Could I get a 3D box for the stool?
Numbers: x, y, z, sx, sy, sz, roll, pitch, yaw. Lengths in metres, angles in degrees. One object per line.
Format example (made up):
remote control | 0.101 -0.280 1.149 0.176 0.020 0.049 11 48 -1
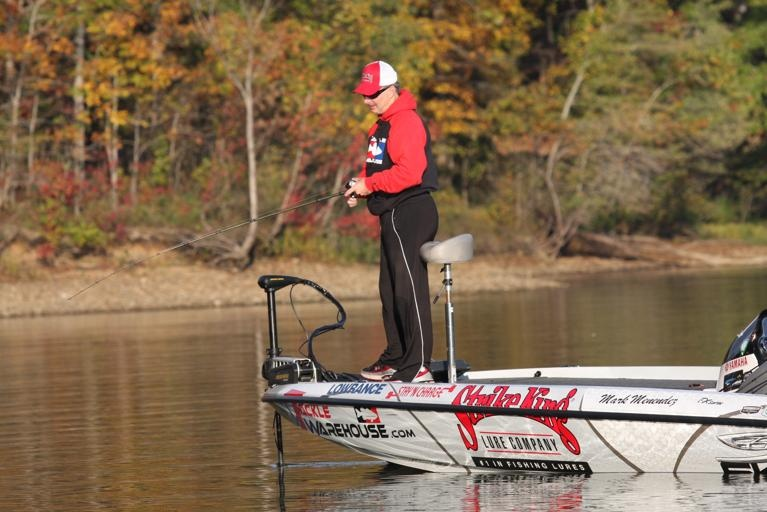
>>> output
stool | 1.002 0.809 32.919 0.763 2.147 0.812 -2 5 2
